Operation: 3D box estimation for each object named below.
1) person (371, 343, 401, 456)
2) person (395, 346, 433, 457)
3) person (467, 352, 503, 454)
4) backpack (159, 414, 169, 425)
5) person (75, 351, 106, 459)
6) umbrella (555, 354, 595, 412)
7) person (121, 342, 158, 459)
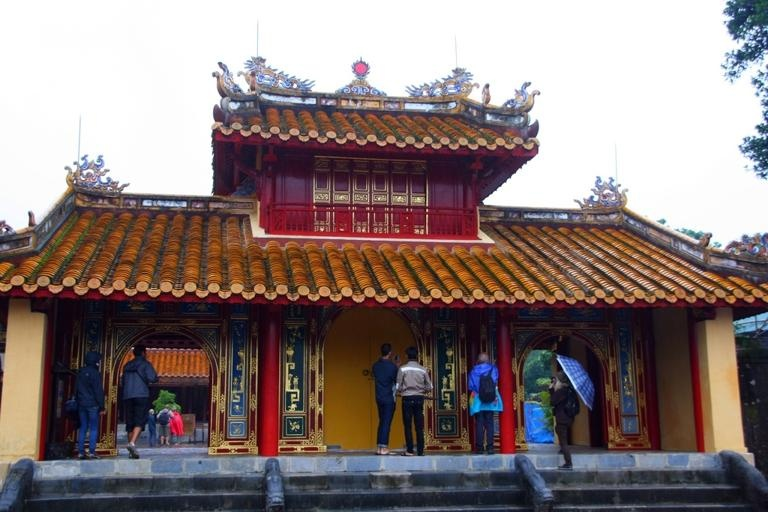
[{"bbox_3d":[0.025,2.872,17.727,0.487,2.216,0.584,5,-21,-25],"label":"person"},{"bbox_3d":[0.592,2.910,17.727,0.666,2.159,0.659,2,-20,-19],"label":"person"},{"bbox_3d":[2.108,3.024,17.992,0.695,1.934,0.887,2,-20,-18],"label":"person"},{"bbox_3d":[-6.612,4.926,26.606,0.297,0.379,0.313,-2,-18,11],"label":"backpack"},{"bbox_3d":[-5.781,2.887,17.165,0.553,2.024,0.587,2,-20,-18],"label":"person"},{"bbox_3d":[3.895,2.508,17.591,0.504,1.039,0.843,-13,-21,24],"label":"umbrella"},{"bbox_3d":[-4.830,2.795,17.279,0.600,2.325,0.847,2,-20,-18],"label":"person"}]
